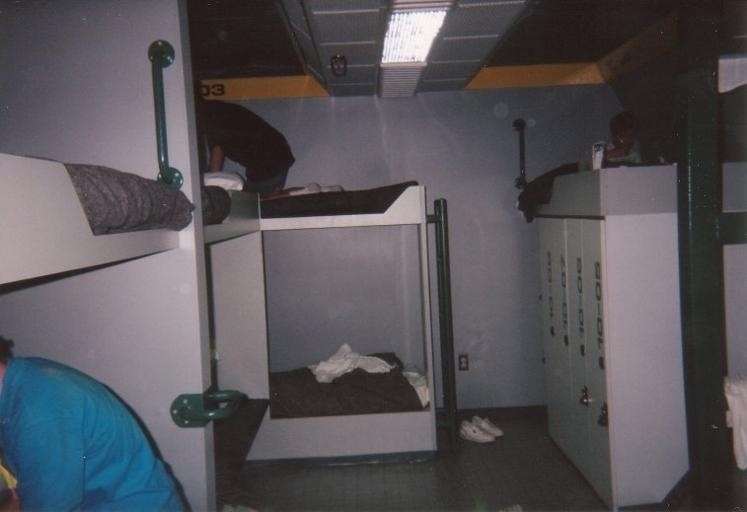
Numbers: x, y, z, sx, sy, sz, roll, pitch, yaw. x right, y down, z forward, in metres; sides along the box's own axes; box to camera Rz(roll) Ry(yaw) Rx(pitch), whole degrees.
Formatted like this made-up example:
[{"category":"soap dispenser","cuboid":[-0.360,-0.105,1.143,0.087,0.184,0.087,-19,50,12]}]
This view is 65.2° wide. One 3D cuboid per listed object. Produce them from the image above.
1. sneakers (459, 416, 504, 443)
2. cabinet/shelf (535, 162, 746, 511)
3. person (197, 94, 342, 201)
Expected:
[{"category":"sneakers","cuboid":[0.902,1.473,4.975,0.224,0.076,0.167,0,5,34]},{"category":"cabinet/shelf","cuboid":[1.669,0.540,4.243,0.505,2.315,1.046,-2,3,-29]},{"category":"person","cuboid":[-0.801,-0.842,4.347,0.744,0.377,0.949,14,6,19]}]
